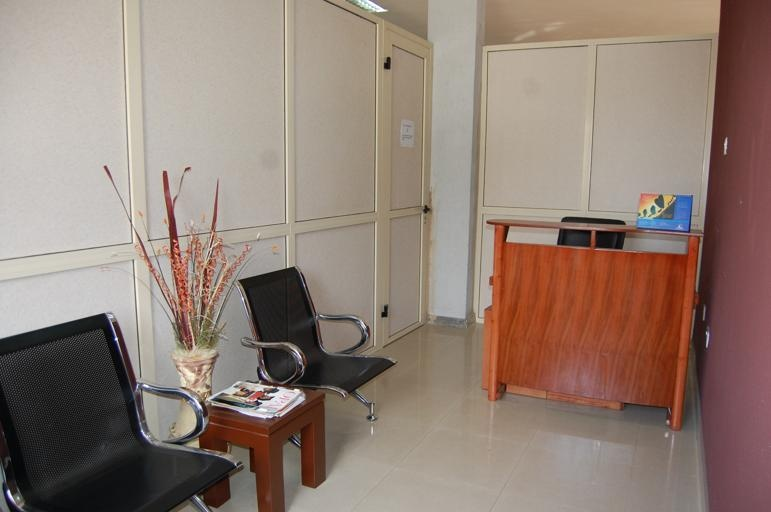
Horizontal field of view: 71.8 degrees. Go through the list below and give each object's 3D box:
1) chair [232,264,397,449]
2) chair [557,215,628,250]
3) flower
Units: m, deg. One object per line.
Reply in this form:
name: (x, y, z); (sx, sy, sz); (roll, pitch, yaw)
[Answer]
chair: (-0.482, 0.730, 3.821); (1.070, 1.120, 1.040); (-4, 11, -25)
chair: (1.893, -0.211, 4.912); (0.551, 0.274, 0.579); (4, 12, 25)
flower: (-1.073, -0.008, 3.509); (1.023, 1.386, 1.038); (5, 7, 35)
